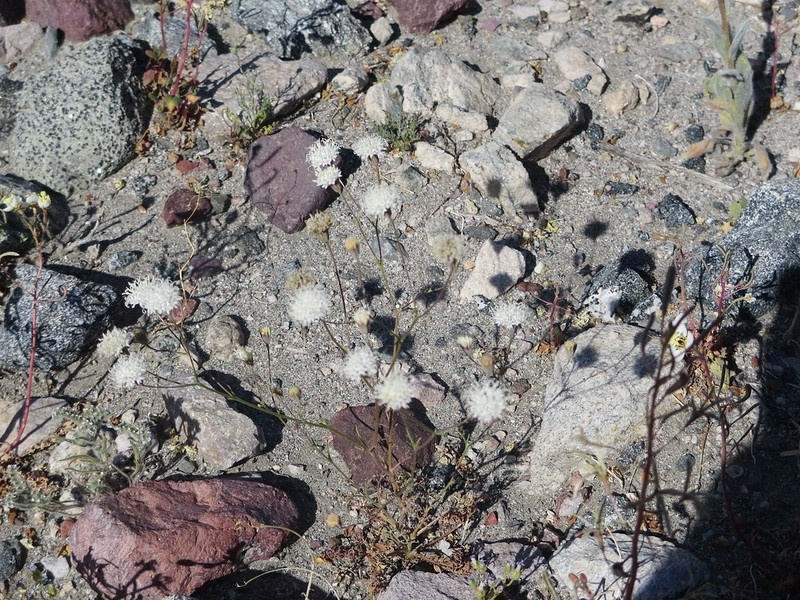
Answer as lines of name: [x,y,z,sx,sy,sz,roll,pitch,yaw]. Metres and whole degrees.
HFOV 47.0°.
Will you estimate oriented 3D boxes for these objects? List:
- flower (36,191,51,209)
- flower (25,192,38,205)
flower: [-3.357,-0.978,8.682,0.129,0.092,0.223,-3,90,-4]
flower: [-3.482,-0.953,8.698,0.108,0.140,0.119,4,104,16]
